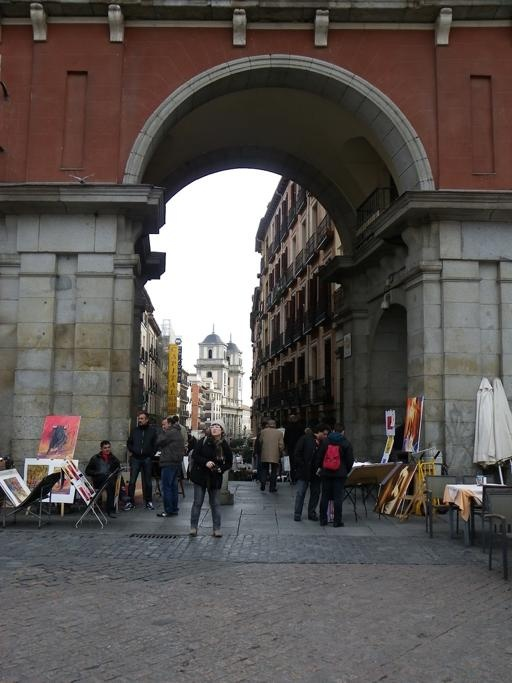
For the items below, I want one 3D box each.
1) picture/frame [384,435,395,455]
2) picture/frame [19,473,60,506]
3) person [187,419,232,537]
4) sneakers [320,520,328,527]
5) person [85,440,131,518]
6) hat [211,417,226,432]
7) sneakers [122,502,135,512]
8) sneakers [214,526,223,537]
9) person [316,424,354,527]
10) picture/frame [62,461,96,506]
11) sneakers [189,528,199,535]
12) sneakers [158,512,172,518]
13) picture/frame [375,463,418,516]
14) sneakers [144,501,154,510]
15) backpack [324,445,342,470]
[{"bbox_3d":[2.658,2.083,13.443,0.162,0.368,0.467,0,-7,8],"label":"picture/frame"},{"bbox_3d":[-3.313,2.252,10.205,0.401,0.258,0.973,2,-14,-4],"label":"picture/frame"},{"bbox_3d":[-0.659,1.963,9.604,0.578,1.563,1.079,2,-7,-5],"label":"person"},{"bbox_3d":[1.083,2.891,10.704,0.060,0.082,0.112,11,-13,-38],"label":"sneakers"},{"bbox_3d":[-2.607,2.330,11.389,0.544,1.266,1.169,1,-7,0],"label":"person"},{"bbox_3d":[-0.549,1.149,9.374,0.148,0.177,0.207,-3,-12,22],"label":"hat"},{"bbox_3d":[-2.400,3.082,12.515,0.097,0.139,0.299,-1,-16,4],"label":"sneakers"},{"bbox_3d":[-0.539,2.664,9.396,0.130,0.134,0.309,0,-16,-5],"label":"sneakers"},{"bbox_3d":[1.292,2.220,10.884,0.545,1.481,0.580,0,-7,5],"label":"person"},{"bbox_3d":[-2.829,2.252,10.704,0.174,0.681,0.643,-28,16,-17],"label":"picture/frame"},{"bbox_3d":[-0.876,2.663,9.404,0.151,0.078,0.260,1,-2,-1],"label":"sneakers"},{"bbox_3d":[-1.580,2.960,11.517,0.204,0.085,0.109,9,-6,-4],"label":"sneakers"},{"bbox_3d":[2.532,2.666,12.101,0.082,1.100,0.778,34,-41,-8],"label":"picture/frame"},{"bbox_3d":[-2.014,3.123,12.720,0.085,0.116,0.267,5,-15,-15],"label":"sneakers"},{"bbox_3d":[1.233,1.858,10.706,0.335,0.543,0.277,-1,-9,20],"label":"backpack"}]
